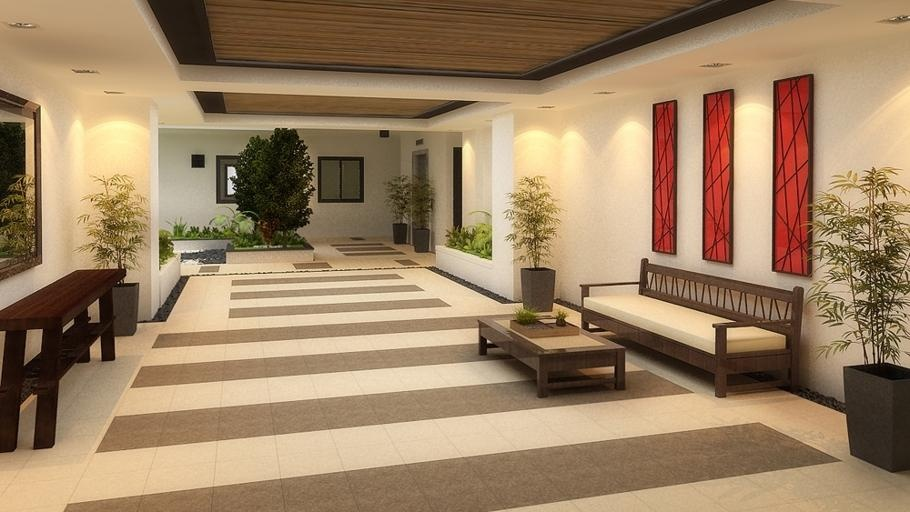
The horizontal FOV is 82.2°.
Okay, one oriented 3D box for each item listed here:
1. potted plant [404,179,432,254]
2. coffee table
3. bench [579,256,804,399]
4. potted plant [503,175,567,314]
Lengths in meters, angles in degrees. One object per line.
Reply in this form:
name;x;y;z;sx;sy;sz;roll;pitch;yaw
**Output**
potted plant;-0.959;-1.191;16.151;1.020;1.990;0.931;3;5;19
coffee table;1.176;1.138;6.395;1.071;0.619;1.535;-6;14;-24
bench;3.007;0.780;6.557;1.250;1.200;2.201;-7;15;-25
potted plant;1.388;-0.287;9.400;1.025;2.345;1.371;2;15;8
